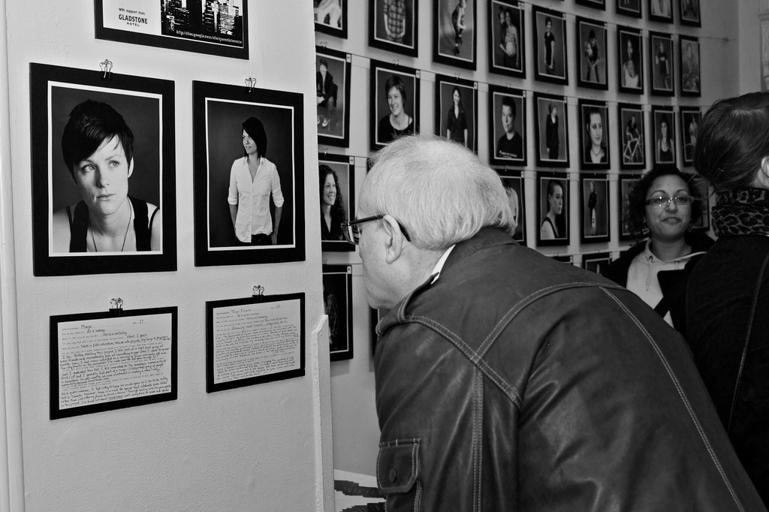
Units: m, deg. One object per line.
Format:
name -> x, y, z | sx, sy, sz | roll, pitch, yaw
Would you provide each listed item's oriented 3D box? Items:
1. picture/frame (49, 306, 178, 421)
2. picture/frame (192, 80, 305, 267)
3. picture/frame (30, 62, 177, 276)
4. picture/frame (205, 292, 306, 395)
picture/frame -> -1.176, 0.451, 2.979 | 0.400, 0.415, 0.042 | -3, 0, -37
picture/frame -> -0.660, -0.391, 3.281 | 0.711, 1.207, 0.040 | -1, -1, -40
picture/frame -> -1.192, -0.373, 3.010 | 0.579, 1.012, 0.038 | -4, 34, -27
picture/frame -> -0.628, 0.409, 3.287 | 0.403, 0.420, 0.018 | -2, -2, -41
